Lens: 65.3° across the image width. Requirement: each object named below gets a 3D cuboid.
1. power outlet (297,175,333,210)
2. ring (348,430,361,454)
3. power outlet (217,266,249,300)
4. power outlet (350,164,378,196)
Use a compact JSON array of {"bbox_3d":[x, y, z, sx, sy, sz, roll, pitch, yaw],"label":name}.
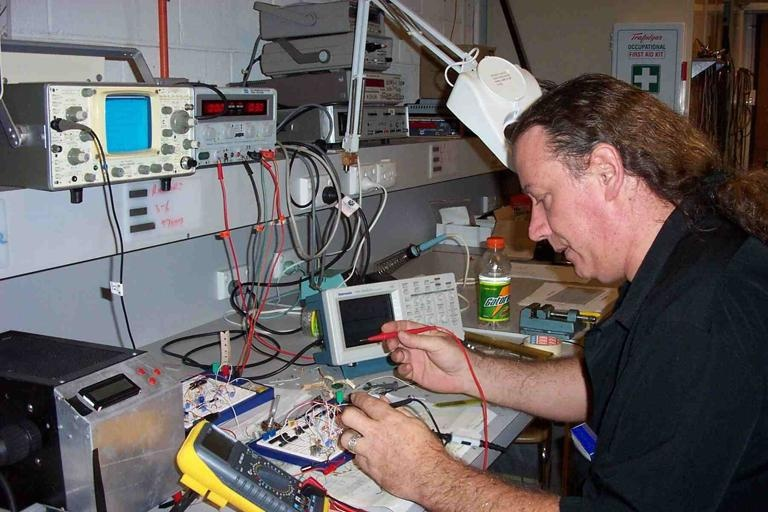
[{"bbox_3d":[-0.264,-0.232,2.260,0.103,0.136,0.195,4,8,30],"label":"power outlet"},{"bbox_3d":[-0.073,0.436,1.399,0.038,0.040,0.040,15,-2,0],"label":"ring"},{"bbox_3d":[-0.554,0.101,2.161,0.016,0.082,0.123,2,7,30],"label":"power outlet"},{"bbox_3d":[-0.077,-0.317,2.473,0.155,0.102,0.085,-15,13,-42],"label":"power outlet"}]
